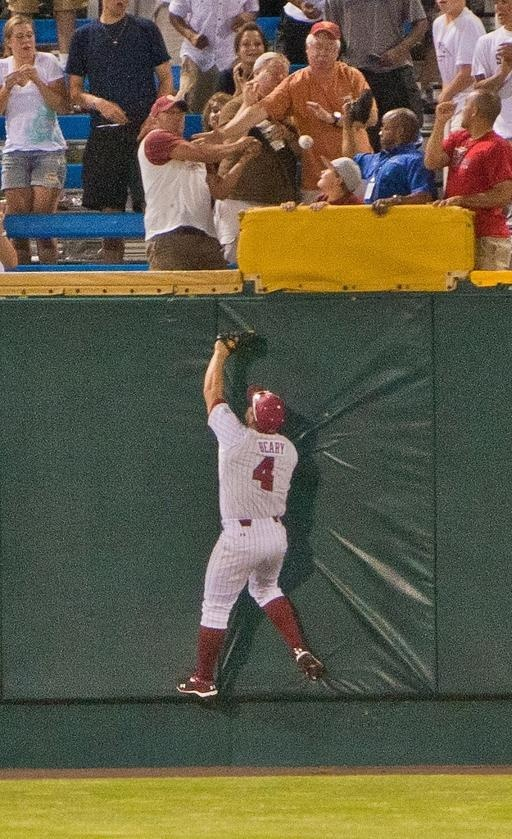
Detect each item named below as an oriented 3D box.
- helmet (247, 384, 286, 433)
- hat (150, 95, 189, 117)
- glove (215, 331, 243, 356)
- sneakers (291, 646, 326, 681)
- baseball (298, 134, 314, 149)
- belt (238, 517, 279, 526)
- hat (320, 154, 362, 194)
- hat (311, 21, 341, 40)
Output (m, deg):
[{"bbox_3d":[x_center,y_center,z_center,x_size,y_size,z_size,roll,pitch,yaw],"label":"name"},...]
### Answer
[{"bbox_3d":[0.060,-0.060,7.368,0.158,0.247,0.124,-9,-2,-24],"label":"helmet"},{"bbox_3d":[-0.497,-1.811,7.802,0.197,0.121,0.279,-3,16,-6],"label":"hat"},{"bbox_3d":[-0.150,-0.435,7.403,0.079,0.096,0.142,8,25,-31],"label":"glove"},{"bbox_3d":[0.287,1.310,7.288,0.119,0.191,0.066,-39,1,-11],"label":"sneakers"},{"bbox_3d":[0.294,-1.583,7.733,0.088,0.093,0.048,-10,-13,43],"label":"baseball"},{"bbox_3d":[0.025,0.544,7.319,0.231,0.044,0.041,-6,16,-15],"label":"belt"},{"bbox_3d":[0.470,-1.327,7.329,0.340,0.206,0.131,-17,22,-42],"label":"hat"},{"bbox_3d":[0.404,-2.280,7.892,0.157,0.097,0.274,-1,16,0],"label":"hat"}]
